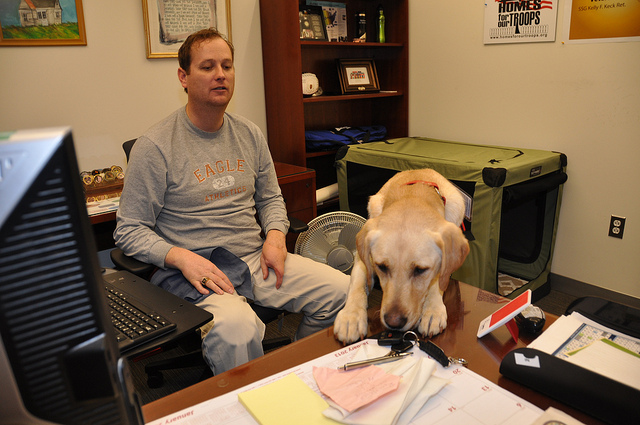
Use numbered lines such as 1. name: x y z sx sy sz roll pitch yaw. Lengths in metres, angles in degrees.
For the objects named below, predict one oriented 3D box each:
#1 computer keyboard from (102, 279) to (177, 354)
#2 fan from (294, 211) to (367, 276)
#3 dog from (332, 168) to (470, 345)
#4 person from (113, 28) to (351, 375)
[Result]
1. computer keyboard: -0.547 0.319 1.291 0.144 0.041 0.398 -21 31 -34
2. fan: 0.056 0.176 2.270 0.317 0.350 0.150 1 19 -3
3. dog: 0.386 0.071 1.860 0.418 0.367 1.164 2 27 16
4. person: -0.418 0.040 2.081 0.943 1.765 0.952 -6 10 -39
